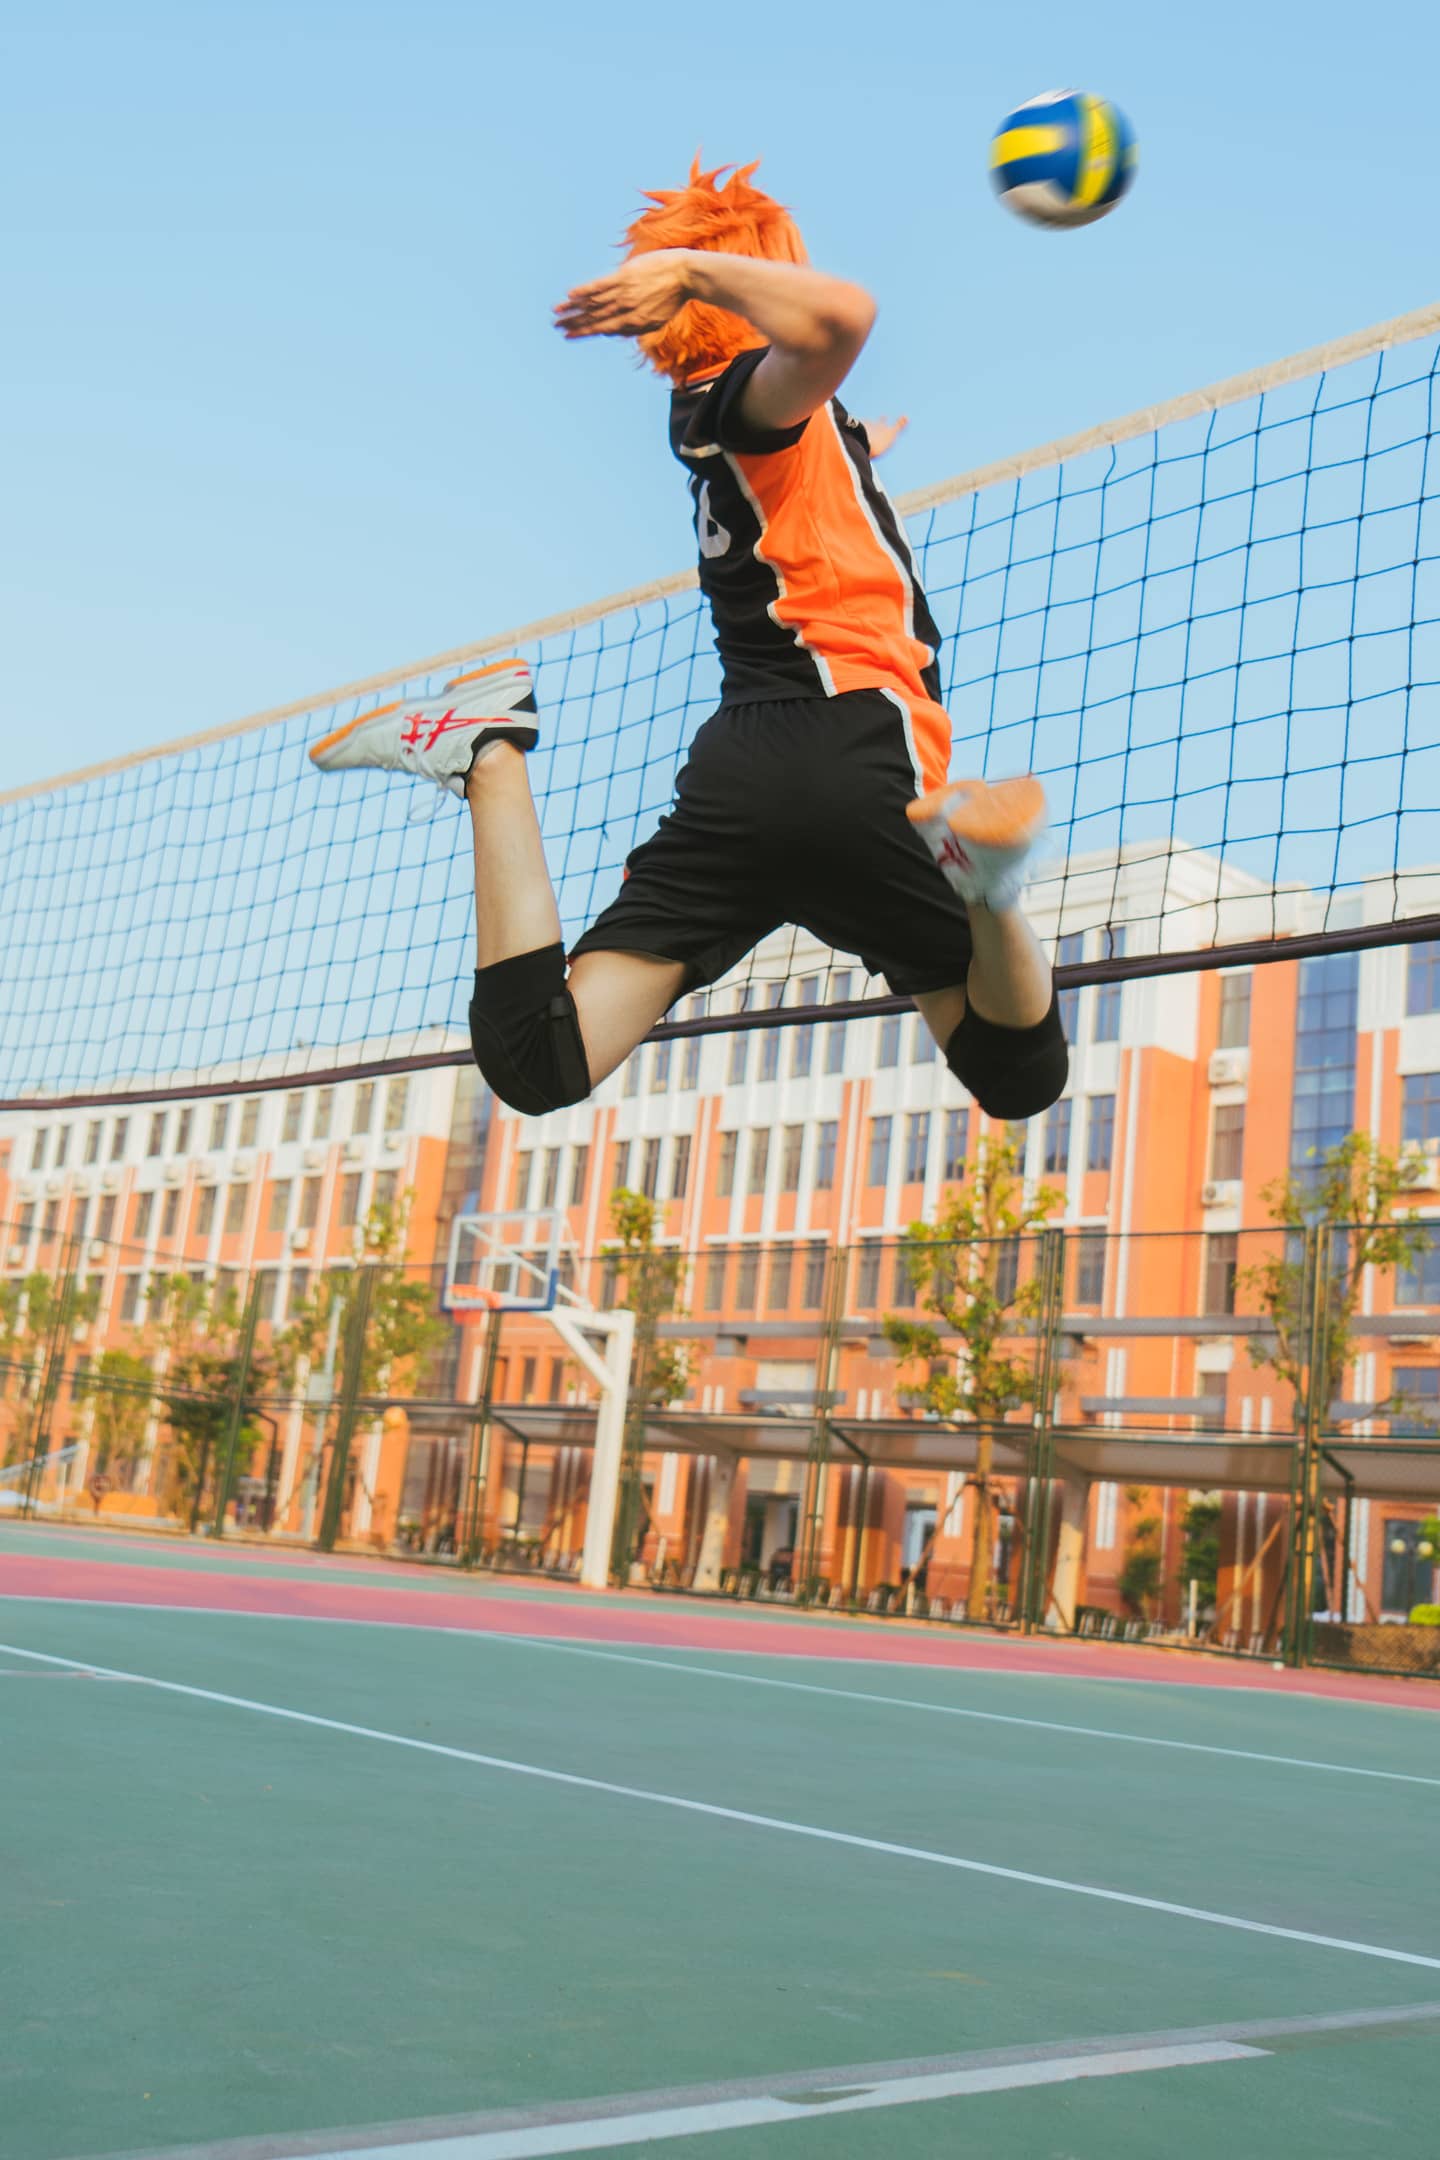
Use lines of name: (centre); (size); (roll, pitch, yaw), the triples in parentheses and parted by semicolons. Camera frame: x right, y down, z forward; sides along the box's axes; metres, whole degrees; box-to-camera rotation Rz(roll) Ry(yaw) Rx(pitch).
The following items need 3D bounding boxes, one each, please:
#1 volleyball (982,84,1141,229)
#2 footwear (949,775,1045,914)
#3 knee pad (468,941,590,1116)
volleyball: (0.605, -1.603, 3.231); (0.213, 0.245, 0.195); (1, -4, -2)
footwear: (0.348, -0.302, 2.357); (0.102, 0.181, 0.073); (10, -52, 4)
knee pad: (-0.299, -0.040, 2.630); (0.190, 0.235, 0.140); (-17, 19, 1)
